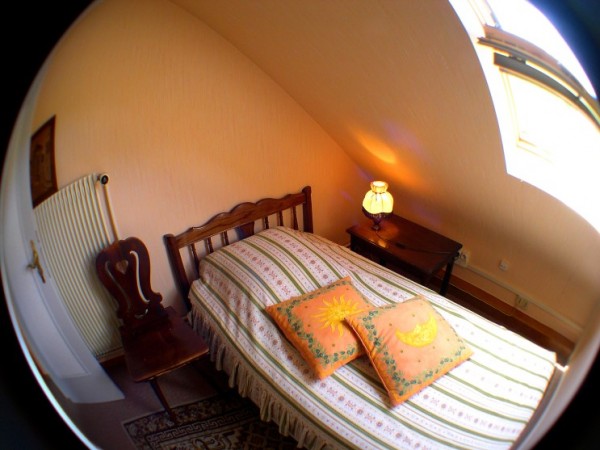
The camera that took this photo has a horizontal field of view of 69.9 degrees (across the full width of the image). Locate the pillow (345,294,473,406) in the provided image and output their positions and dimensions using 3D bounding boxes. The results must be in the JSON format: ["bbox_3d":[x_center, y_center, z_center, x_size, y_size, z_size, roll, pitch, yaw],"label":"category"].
[{"bbox_3d":[0.376,0.373,1.474,0.338,0.141,0.308,-17,33,-21],"label":"pillow"}]

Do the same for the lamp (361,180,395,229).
[{"bbox_3d":[0.398,-0.100,2.188,0.140,0.260,0.157,-22,33,-36],"label":"lamp"}]

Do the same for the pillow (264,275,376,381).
[{"bbox_3d":[0.066,0.343,1.541,0.298,0.096,0.297,-20,54,-33],"label":"pillow"}]
